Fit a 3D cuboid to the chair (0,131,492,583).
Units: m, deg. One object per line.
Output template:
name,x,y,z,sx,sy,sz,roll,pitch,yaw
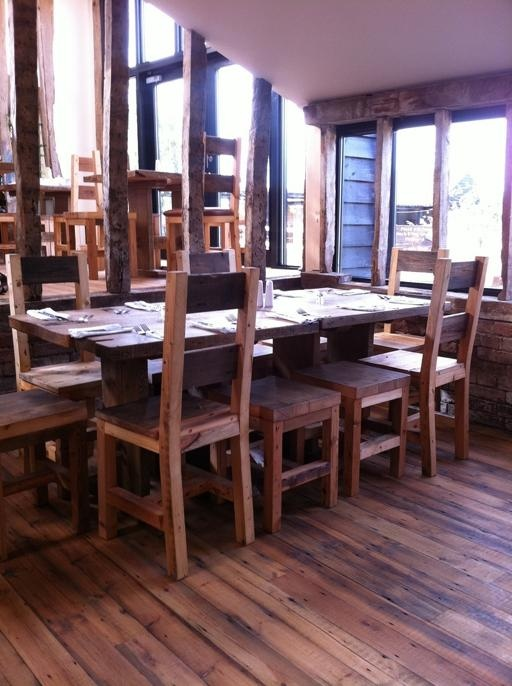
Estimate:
chair,0.022,0.138,2.368,1.871,0.981,0.984,-6,10,-41
